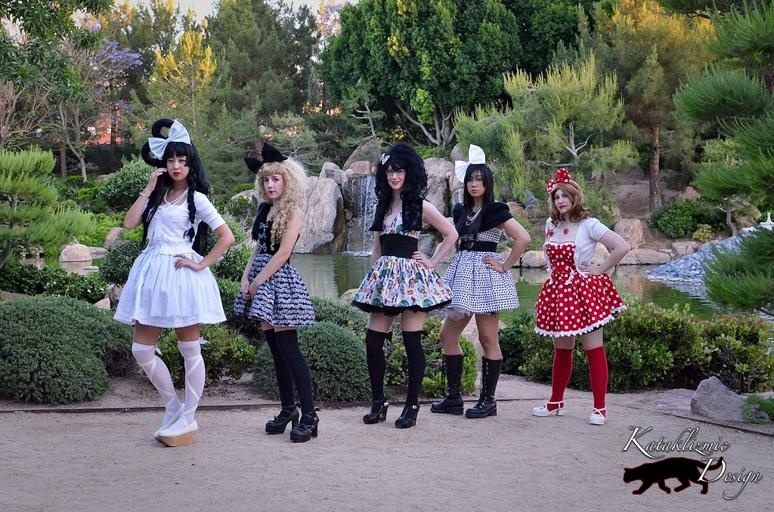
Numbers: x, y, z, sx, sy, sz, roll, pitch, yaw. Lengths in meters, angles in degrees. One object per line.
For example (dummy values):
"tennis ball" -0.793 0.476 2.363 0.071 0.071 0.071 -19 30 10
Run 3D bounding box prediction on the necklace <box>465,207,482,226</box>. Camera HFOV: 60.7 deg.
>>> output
"necklace" 0.989 -0.441 7.504 0.144 0.081 0.197 -22 33 39

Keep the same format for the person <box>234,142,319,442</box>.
"person" -1.097 0.309 6.681 0.871 2.957 0.618 0 2 13

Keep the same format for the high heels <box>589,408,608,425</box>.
"high heels" 2.302 1.744 7.172 0.155 0.159 0.105 0 2 -1

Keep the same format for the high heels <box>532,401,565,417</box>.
"high heels" 1.845 1.742 7.566 0.388 0.170 0.151 2 1 -10

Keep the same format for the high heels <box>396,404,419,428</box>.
"high heels" 0.226 1.673 6.970 0.301 0.228 0.147 -2 3 -40

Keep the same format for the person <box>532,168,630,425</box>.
"person" 2.155 0.420 7.444 0.982 2.823 0.598 0 2 14

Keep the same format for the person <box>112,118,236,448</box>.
"person" -2.059 0.218 6.380 1.023 3.074 0.624 -1 2 -12

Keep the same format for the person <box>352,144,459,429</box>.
"person" 0.157 0.288 7.064 1.015 2.996 0.579 0 2 6
